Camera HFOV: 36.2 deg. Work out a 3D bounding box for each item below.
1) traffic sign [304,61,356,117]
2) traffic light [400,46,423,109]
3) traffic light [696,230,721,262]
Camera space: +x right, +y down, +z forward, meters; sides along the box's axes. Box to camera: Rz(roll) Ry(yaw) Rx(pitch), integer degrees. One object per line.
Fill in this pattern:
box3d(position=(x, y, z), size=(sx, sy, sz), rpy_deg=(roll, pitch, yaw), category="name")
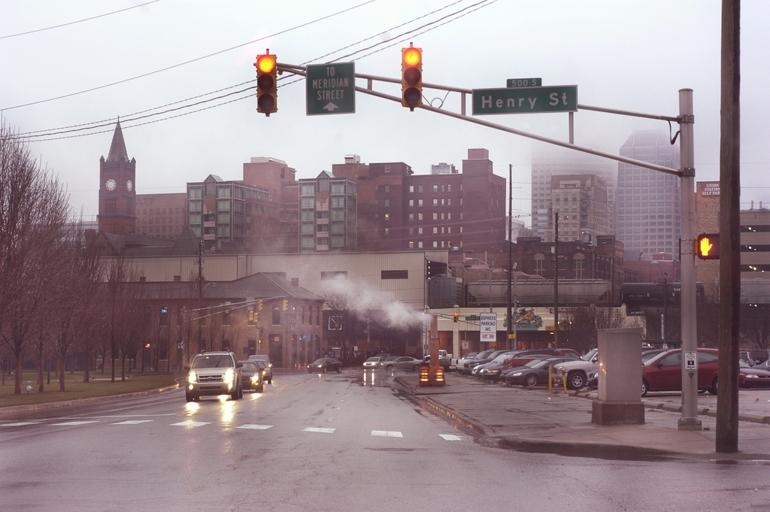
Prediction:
box3d(position=(-1.968, -5.946, 42.251), size=(1.700, 1.832, 0.188), rpy_deg=(-2, -7, -1), category="traffic sign")
box3d(position=(0.976, -6.239, 41.024), size=(0.674, 2.202, 0.741), rpy_deg=(-1, -3, -7), category="traffic light")
box3d(position=(11.303, -0.360, 41.122), size=(1.035, 0.913, 0.834), rpy_deg=(-4, -5, 32), category="traffic light")
